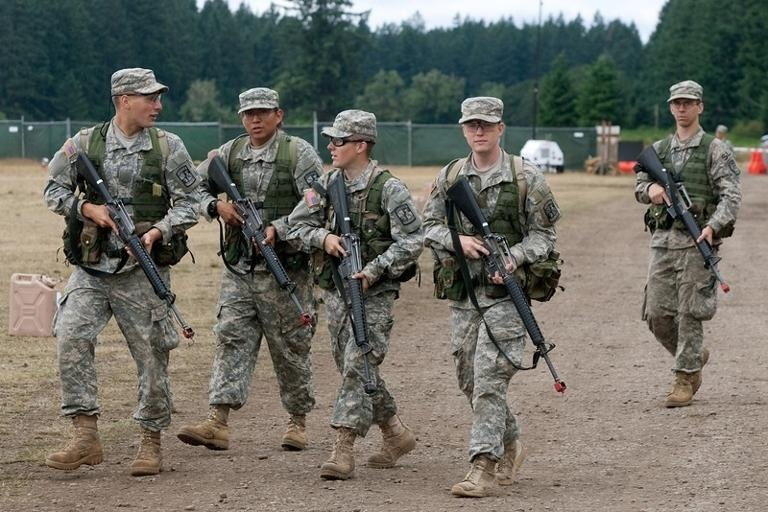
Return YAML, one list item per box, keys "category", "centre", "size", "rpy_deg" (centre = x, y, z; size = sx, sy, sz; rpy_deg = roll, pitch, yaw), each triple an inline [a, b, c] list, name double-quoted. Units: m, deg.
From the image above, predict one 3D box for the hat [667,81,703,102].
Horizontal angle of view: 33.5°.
- category: "hat"
  centre: [3.248, -1.816, 13.733]
  size: [0.273, 0.186, 0.361]
  rpy_deg: [1, -6, 14]

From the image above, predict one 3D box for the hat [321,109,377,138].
- category: "hat"
  centre: [-0.294, -1.235, 11.997]
  size: [0.389, 0.207, 0.289]
  rpy_deg: [0, 3, -6]

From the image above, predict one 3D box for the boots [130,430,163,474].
- category: "boots"
  centre: [-2.245, 1.827, 12.060]
  size: [0.229, 0.458, 0.657]
  rpy_deg: [-4, -2, 3]

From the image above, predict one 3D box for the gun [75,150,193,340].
- category: "gun"
  centre: [-2.402, -0.156, 12.076]
  size: [0.521, 1.834, 0.209]
  rpy_deg: [-33, -4, 42]

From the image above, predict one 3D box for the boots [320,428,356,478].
- category: "boots"
  centre: [-0.412, 1.829, 11.836]
  size: [0.227, 0.470, 0.495]
  rpy_deg: [-2, -6, 25]

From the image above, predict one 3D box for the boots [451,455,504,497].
- category: "boots"
  centre: [0.829, 1.980, 11.529]
  size: [0.223, 0.343, 0.582]
  rpy_deg: [0, -3, 35]

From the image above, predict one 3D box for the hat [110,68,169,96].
- category: "hat"
  centre: [-2.323, -1.640, 12.070]
  size: [0.430, 0.174, 0.291]
  rpy_deg: [-2, 7, -5]

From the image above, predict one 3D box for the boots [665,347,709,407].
- category: "boots"
  centre: [3.156, 1.370, 13.468]
  size: [0.292, 0.336, 0.533]
  rpy_deg: [5, 14, 28]

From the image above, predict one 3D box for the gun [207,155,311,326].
- category: "gun"
  centre: [-1.181, -0.180, 12.527]
  size: [0.671, 1.847, 0.193]
  rpy_deg: [-40, -19, 33]

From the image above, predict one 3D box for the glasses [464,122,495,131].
- category: "glasses"
  centre: [0.878, -1.201, 11.742]
  size: [0.179, 0.093, 0.455]
  rpy_deg: [2, 3, 12]

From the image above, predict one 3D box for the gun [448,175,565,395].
- category: "gun"
  centre: [1.113, 0.286, 12.041]
  size: [0.719, 2.439, 0.485]
  rpy_deg: [-26, -5, 17]

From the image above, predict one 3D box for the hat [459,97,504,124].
- category: "hat"
  centre: [0.896, -1.354, 11.787]
  size: [0.388, 0.240, 0.285]
  rpy_deg: [-1, 12, 2]
